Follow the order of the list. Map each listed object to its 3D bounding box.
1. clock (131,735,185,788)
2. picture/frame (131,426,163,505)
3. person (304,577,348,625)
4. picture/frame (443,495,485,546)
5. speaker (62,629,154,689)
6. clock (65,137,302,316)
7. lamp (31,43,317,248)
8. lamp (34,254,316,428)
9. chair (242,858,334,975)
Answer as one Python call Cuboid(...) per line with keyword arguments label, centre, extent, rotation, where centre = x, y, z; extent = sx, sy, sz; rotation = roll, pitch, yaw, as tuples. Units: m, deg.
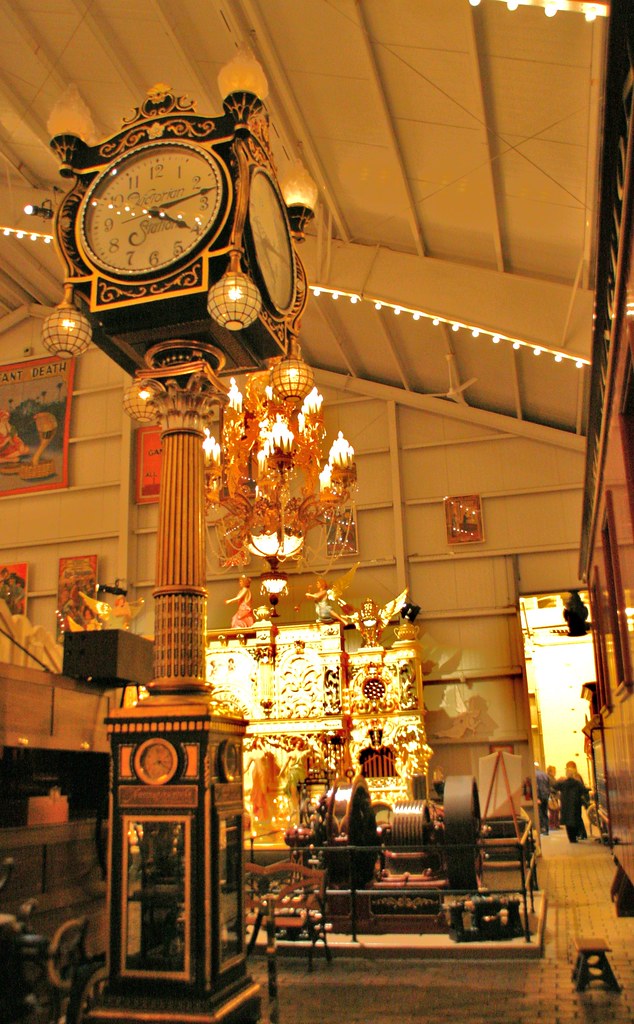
Cuboid(label="clock", centre=(-0.643, 0.992, 3.343), extent=(0.206, 0.183, 0.026), rotation=(-10, -18, 24))
Cuboid(label="picture/frame", centre=(-2.987, -0.848, 14.860), extent=(0.636, 1.422, 0.344), rotation=(-11, -19, 29))
Cuboid(label="person", centre=(0.116, 1.319, 12.416), extent=(0.682, 0.837, 0.787), rotation=(-5, -18, 19))
Cuboid(label="picture/frame", centre=(2.364, 0.164, 13.352), extent=(0.695, 0.999, 0.100), rotation=(-4, -23, 8))
Cuboid(label="speaker", centre=(-1.267, 0.850, 4.822), extent=(0.360, 0.338, 0.855), rotation=(-6, -17, 11))
Cuboid(label="clock", centre=(-0.581, -1.333, 3.945), extent=(1.067, 0.895, 0.674), rotation=(3, -17, -18))
Cuboid(label="lamp", centre=(-0.665, -1.929, 4.028), extent=(1.179, 0.534, 1.052), rotation=(-3, -10, 28))
Cuboid(label="lamp", centre=(-0.727, -0.828, 3.709), extent=(0.923, 0.448, 0.852), rotation=(4, -16, -9))
Cuboid(label="chair", centre=(-0.212, 2.477, 5.229), extent=(0.243, 0.482, 0.601), rotation=(-21, -33, 30))
